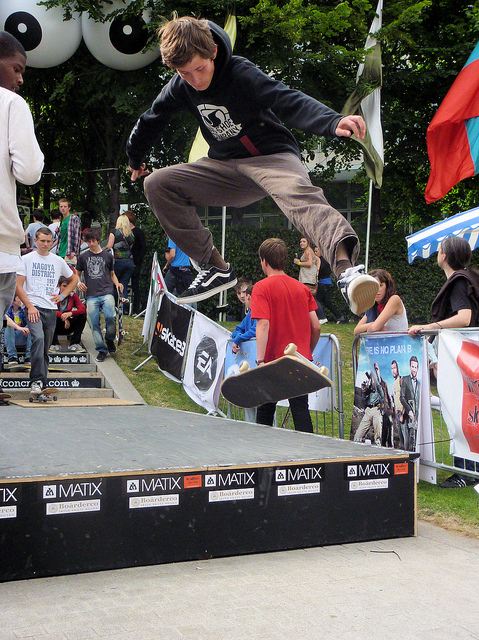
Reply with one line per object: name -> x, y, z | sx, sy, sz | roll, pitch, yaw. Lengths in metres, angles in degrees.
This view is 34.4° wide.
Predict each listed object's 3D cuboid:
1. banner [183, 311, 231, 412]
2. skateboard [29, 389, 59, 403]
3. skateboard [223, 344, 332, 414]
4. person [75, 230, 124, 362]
banner -> -0.357, 0.482, 8.242 | 0.174, 0.860, 0.966 | 6, 11, -25
skateboard -> -2.088, 0.810, 8.264 | 0.289, 0.196, 0.376 | 2, 7, -14
skateboard -> 0.312, 0.348, 5.202 | 0.450, 0.268, 0.923 | 42, -39, -23
person -> -1.826, -0.284, 10.023 | 0.586, 1.701, 1.304 | 3, 7, -9
